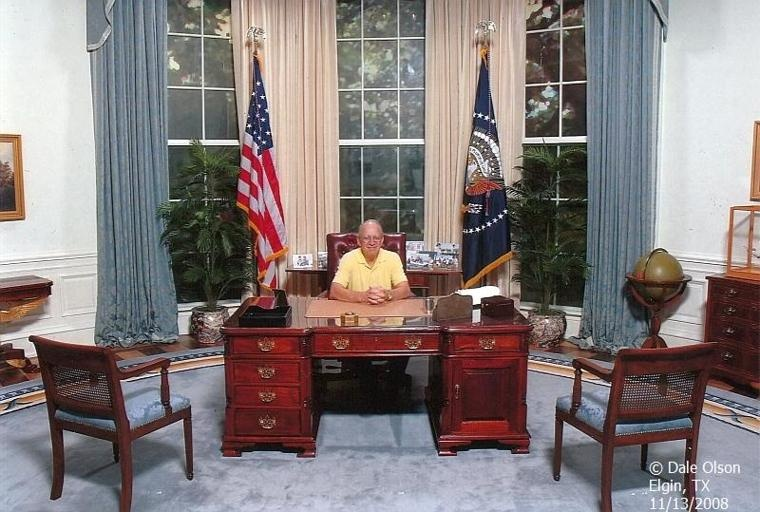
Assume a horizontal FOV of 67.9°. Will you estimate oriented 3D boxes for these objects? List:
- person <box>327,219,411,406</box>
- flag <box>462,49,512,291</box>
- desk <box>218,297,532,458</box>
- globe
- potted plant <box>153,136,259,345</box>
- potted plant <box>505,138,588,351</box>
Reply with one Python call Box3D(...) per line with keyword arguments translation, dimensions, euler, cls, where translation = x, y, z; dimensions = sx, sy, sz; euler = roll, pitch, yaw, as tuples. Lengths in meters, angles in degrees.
Box3D(translation=(-0.016, 0.476, 5.370), dimensions=(0.765, 1.491, 1.001), euler=(-15, 22, -39), cls="person")
Box3D(translation=(1.240, -1.074, 6.830), dimensions=(0.640, 2.867, 0.567), euler=(-4, 10, -13), cls="flag")
Box3D(translation=(-0.035, 1.067, 5.043), dimensions=(2.486, 1.089, 1.265), euler=(-1, 3, 1), cls="desk")
Box3D(translation=(3.058, 0.455, 6.218), dimensions=(0.620, 1.079, 0.687), euler=(2, 10, 23), cls="globe")
Box3D(translation=(-2.133, -0.188, 7.009), dimensions=(1.097, 2.445, 0.921), euler=(-4, 10, -14), cls="potted plant")
Box3D(translation=(2.113, -0.155, 6.909), dimensions=(0.899, 2.422, 0.865), euler=(-6, 11, -23), cls="potted plant")
